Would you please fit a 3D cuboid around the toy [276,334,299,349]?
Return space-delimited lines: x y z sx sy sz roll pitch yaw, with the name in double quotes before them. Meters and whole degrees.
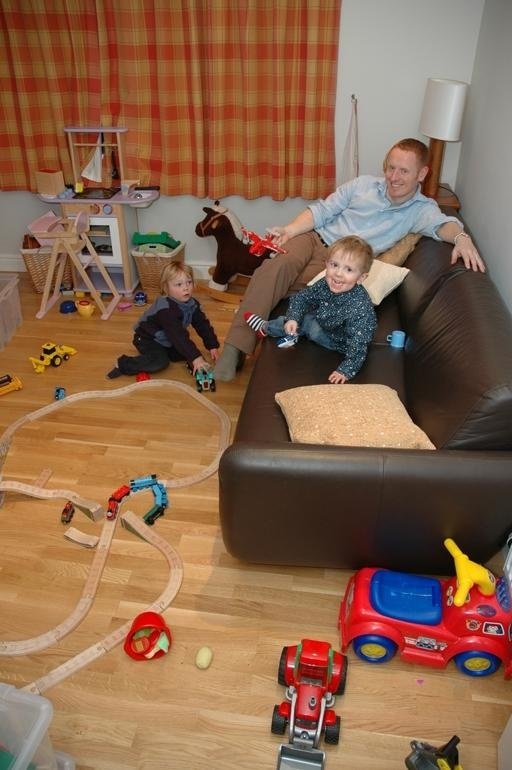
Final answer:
"toy" 0.134 -0.191 2.508 0.085 0.033 0.049 -15 52 0

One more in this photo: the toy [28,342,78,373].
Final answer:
"toy" -1.091 -0.169 3.102 0.133 0.102 0.213 18 42 21

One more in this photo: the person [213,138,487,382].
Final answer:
"person" 0.364 -0.585 2.712 1.282 0.872 1.164 -13 30 -12

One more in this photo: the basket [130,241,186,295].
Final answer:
"basket" -0.596 -0.724 3.511 0.306 0.301 0.384 4 35 5

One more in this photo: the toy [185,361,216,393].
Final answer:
"toy" -0.281 -0.035 2.921 0.082 0.054 0.151 -1 42 -9

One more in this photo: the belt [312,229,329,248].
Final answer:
"belt" 0.353 -0.785 3.114 0.025 0.084 0.084 -32 71 -1

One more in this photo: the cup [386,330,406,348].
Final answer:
"cup" 0.605 -0.208 2.530 0.084 0.064 0.055 -6 48 4

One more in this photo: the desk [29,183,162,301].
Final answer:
"desk" -1.026 -0.908 3.680 0.780 0.742 0.443 7 52 4

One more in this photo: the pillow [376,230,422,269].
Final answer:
"pillow" 0.702 -0.659 2.808 0.248 0.135 0.065 -39 84 -15

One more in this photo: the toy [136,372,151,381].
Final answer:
"toy" -0.583 -0.034 2.984 0.067 0.032 0.093 -4 38 -7

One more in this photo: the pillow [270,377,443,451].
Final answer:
"pillow" 0.291 0.095 1.852 0.261 0.071 0.248 -2 30 -9

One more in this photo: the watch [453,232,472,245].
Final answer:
"watch" 0.874 -0.631 2.473 0.065 0.034 0.078 -15 11 -34
